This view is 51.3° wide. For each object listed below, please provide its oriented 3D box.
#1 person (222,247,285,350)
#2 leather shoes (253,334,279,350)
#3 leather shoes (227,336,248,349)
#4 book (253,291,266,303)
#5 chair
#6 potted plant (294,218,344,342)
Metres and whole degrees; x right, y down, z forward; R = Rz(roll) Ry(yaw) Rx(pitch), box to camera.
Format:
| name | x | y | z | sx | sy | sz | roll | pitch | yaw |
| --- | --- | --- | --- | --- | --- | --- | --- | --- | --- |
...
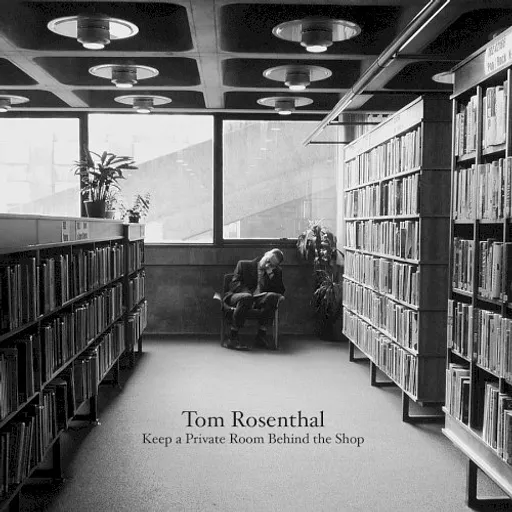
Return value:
| name | x | y | z | sx | sy | sz | roll | pitch | yaw |
| --- | --- | --- | --- | --- | --- | --- | --- | --- | --- |
| person | -0.035 | 0.521 | 6.532 | 0.739 | 1.198 | 0.612 | 0 | 3 | -3 |
| leather shoes | 0.113 | 1.057 | 6.525 | 0.326 | 0.258 | 0.120 | 0 | -1 | 1 |
| leather shoes | -0.229 | 1.043 | 6.421 | 0.107 | 0.134 | 0.308 | 1 | -4 | -34 |
| book | 0.045 | 0.491 | 6.283 | 0.102 | 0.117 | 0.125 | -3 | -14 | 26 |
| chair | -0.048 | 0.692 | 6.763 | 0.870 | 1.116 | 0.863 | 2 | -8 | -7 |
| potted plant | 0.824 | 0.324 | 7.039 | 0.607 | 1.540 | 0.975 | 1 | 3 | 9 |
